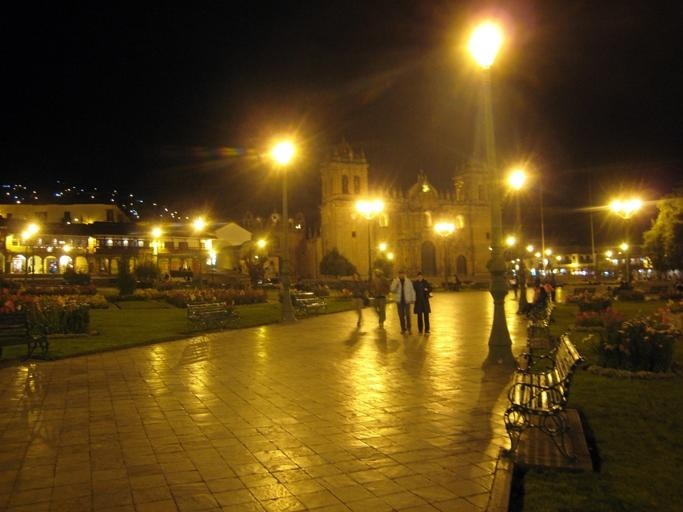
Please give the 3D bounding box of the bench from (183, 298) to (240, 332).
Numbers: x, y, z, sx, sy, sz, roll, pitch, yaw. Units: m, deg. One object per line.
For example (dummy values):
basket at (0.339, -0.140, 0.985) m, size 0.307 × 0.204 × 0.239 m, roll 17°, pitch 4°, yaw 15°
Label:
bench at (-4.384, 2.083, 19.802) m, size 1.267 × 0.960 × 2.233 m, roll -1°, pitch 1°, yaw 9°
